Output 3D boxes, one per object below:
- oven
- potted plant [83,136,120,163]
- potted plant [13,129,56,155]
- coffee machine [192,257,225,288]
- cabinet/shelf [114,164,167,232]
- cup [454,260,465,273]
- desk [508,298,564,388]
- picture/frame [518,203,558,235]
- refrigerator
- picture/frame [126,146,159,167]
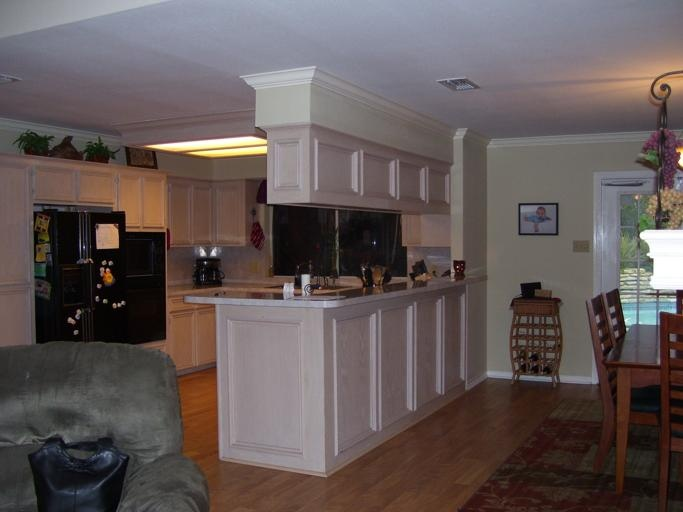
[{"bbox_3d":[-2.554,0.399,6.834,0.759,1.431,0.469,-3,-1,1],"label":"oven"},{"bbox_3d":[-2.907,-1.231,6.391,0.401,0.316,0.409,3,3,27],"label":"potted plant"},{"bbox_3d":[-3.325,-1.201,5.745,0.371,0.269,0.382,5,5,11],"label":"potted plant"},{"bbox_3d":[-2.042,0.214,8.000,0.407,0.429,0.441,-2,2,-23],"label":"coffee machine"},{"bbox_3d":[-2.556,-0.726,6.583,0.296,0.830,0.870,-2,-3,24],"label":"cabinet/shelf"},{"bbox_3d":[1.411,0.112,6.287,0.144,0.194,0.128,1,7,8],"label":"cup"},{"bbox_3d":[2.485,1.044,6.671,0.629,1.106,0.652,0,2,24],"label":"desk"},{"bbox_3d":[2.603,-0.498,6.856,0.400,0.357,0.041,0,-4,9],"label":"picture/frame"},{"bbox_3d":[-2.885,0.241,5.864,0.959,1.511,0.431,-2,3,-33],"label":"refrigerator"},{"bbox_3d":[-2.562,-1.276,6.689,0.036,0.230,0.255,-24,-31,35],"label":"picture/frame"}]
